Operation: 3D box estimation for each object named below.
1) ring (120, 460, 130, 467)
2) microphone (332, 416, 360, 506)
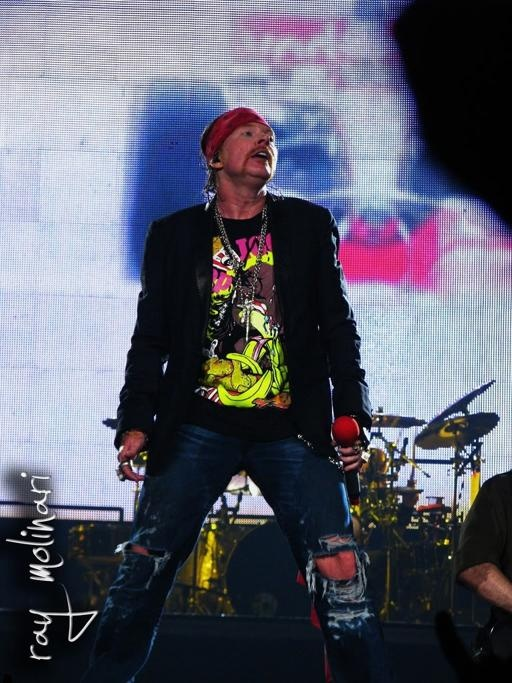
[{"bbox_3d":[-0.413,0.386,3.917,0.023,0.009,0.024,-7,-14,-2],"label":"ring"},{"bbox_3d":[0.308,0.364,3.872,0.098,0.261,0.095,-2,26,14],"label":"microphone"}]
